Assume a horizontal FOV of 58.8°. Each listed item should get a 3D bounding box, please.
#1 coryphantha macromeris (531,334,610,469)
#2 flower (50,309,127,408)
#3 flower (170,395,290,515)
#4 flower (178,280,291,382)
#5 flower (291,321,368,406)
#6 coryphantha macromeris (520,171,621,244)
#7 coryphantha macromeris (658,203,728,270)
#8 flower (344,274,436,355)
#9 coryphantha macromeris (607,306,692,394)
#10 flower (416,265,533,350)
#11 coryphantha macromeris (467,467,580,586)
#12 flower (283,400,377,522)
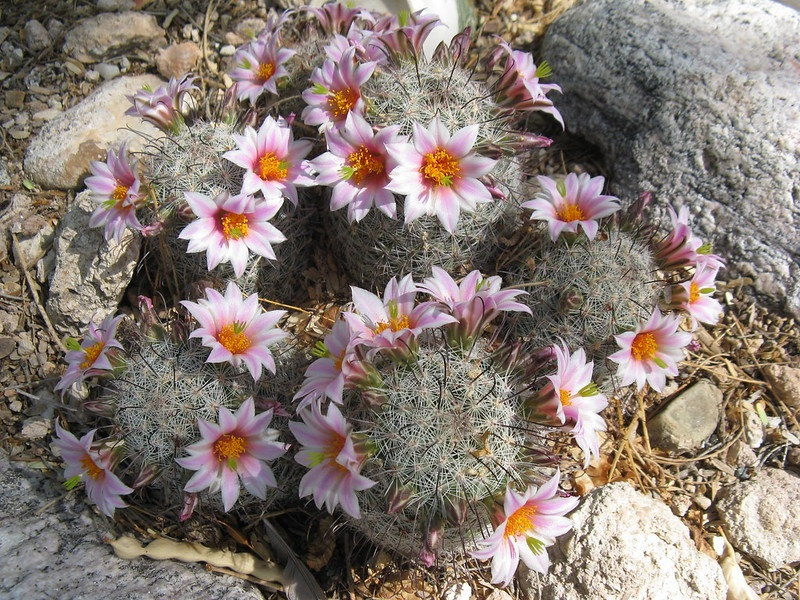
[{"bbox_3d":[0.747,0.476,3.320,0.429,0.296,0.497,-1,72,-24],"label":"coryphantha macromeris"},{"bbox_3d":[-1.441,0.258,3.378,0.356,0.187,0.344,-21,36,6],"label":"flower"},{"bbox_3d":[-0.720,0.665,3.172,0.405,0.233,0.524,-3,38,6],"label":"flower"},{"bbox_3d":[-0.768,0.174,3.251,0.503,0.231,0.446,49,43,13],"label":"flower"},{"bbox_3d":[-0.305,0.294,3.119,0.132,0.326,0.351,34,74,-14],"label":"flower"},{"bbox_3d":[0.888,-0.451,3.596,0.384,0.467,0.207,25,78,-10],"label":"coryphantha macromeris"},{"bbox_3d":[1.495,-0.311,3.668,0.300,0.258,0.336,-5,85,-52],"label":"coryphantha macromeris"},{"bbox_3d":[-0.043,0.126,3.174,0.450,0.527,0.289,-7,101,8],"label":"flower"},{"bbox_3d":[1.185,0.237,3.346,0.357,0.180,0.413,9,102,2],"label":"coryphantha macromeris"},{"bbox_3d":[0.329,0.043,3.243,0.519,0.524,0.367,8,101,11],"label":"flower"},{"bbox_3d":[0.520,0.978,3.026,0.486,0.428,0.218,-29,108,15],"label":"coryphantha macromeris"},{"bbox_3d":[-0.297,0.648,3.066,0.192,0.518,0.588,-10,111,-34],"label":"flower"}]
